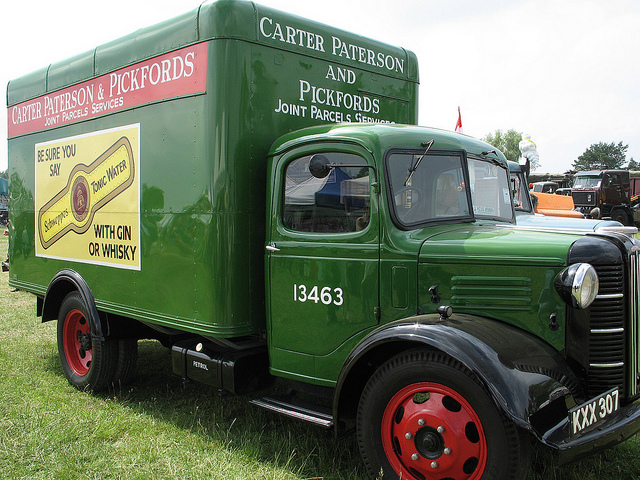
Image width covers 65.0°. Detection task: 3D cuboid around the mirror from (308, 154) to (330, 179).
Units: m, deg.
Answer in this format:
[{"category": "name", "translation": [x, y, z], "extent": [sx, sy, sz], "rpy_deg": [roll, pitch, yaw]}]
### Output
[{"category": "mirror", "translation": [0.006, -0.608, 4.151], "extent": [0.168, 0.217, 0.081], "rpy_deg": [-3, -7, 9]}]

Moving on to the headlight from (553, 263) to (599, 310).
[{"category": "headlight", "translation": [1.829, 0.313, 3.616], "extent": [0.305, 0.352, 0.233], "rpy_deg": [-9, 12, -36]}]

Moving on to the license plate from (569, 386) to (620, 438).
[{"category": "license plate", "translation": [1.916, 1.176, 3.489], "extent": [0.424, 0.186, 0.019], "rpy_deg": [-21, 16, -12]}]
